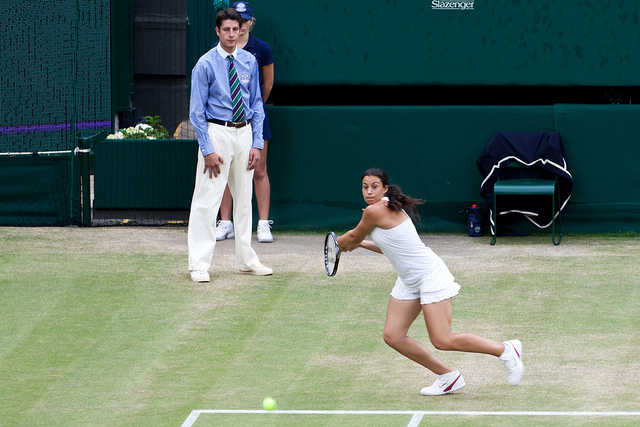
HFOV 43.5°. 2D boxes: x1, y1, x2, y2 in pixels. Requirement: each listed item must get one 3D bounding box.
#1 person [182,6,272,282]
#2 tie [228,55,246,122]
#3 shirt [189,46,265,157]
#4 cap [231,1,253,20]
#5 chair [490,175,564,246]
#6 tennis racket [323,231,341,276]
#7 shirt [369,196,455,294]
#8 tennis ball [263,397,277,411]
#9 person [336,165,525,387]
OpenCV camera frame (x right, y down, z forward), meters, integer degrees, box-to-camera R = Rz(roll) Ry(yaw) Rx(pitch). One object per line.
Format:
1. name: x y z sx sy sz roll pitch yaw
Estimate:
1. person: -0.944 -0.676 8.123 0.955 2.690 0.553 -6 15 -19
2. tie: -0.831 -1.258 8.113 0.136 0.664 0.118 -3 14 -6
3. shirt: -0.910 -1.137 8.152 0.833 1.054 0.305 -12 17 -36
4. cap: -0.878 -2.379 9.436 0.214 0.156 0.320 2 15 -7
5. chair: 2.826 -0.098 10.275 1.116 1.087 0.885 0 -5 13
6. tennis racket: 0.122 0.346 6.453 0.060 0.307 0.217 2 37 -14
7. shirt: 0.883 0.305 7.299 0.621 0.857 0.789 -28 -5 -5
8. tennis ball: -0.356 1.418 5.985 0.097 0.084 0.141 1 13 9
9. person: 0.832 0.509 6.163 1.390 1.586 0.518 8 17 33
